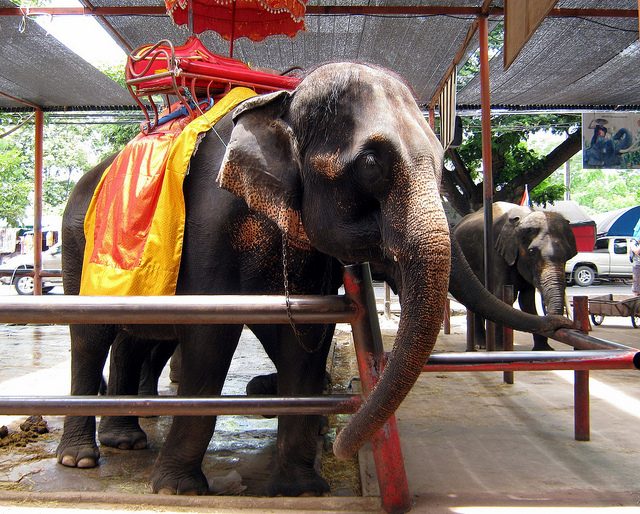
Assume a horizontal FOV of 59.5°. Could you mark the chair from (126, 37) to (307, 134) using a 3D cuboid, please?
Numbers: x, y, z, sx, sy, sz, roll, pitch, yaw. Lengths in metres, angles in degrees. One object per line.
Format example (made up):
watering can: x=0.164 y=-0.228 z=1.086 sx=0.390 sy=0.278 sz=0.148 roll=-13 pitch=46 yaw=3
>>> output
chair: x=-0.652 y=-0.866 z=2.885 sx=0.644 sy=0.315 sz=0.454 roll=-13 pitch=15 yaw=-33

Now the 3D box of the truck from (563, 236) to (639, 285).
truck: x=6.734 y=0.082 z=13.474 sx=2.223 sy=0.975 sz=1.224 roll=-4 pitch=0 yaw=1

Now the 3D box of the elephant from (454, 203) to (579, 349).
elephant: x=1.974 y=0.234 z=5.562 sx=0.934 sy=1.252 sz=2.187 roll=10 pitch=-5 yaw=4

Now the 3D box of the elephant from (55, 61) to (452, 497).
elephant: x=-0.371 y=0.133 z=2.538 sx=2.264 sy=1.656 sz=0.878 roll=-1 pitch=-2 yaw=35
